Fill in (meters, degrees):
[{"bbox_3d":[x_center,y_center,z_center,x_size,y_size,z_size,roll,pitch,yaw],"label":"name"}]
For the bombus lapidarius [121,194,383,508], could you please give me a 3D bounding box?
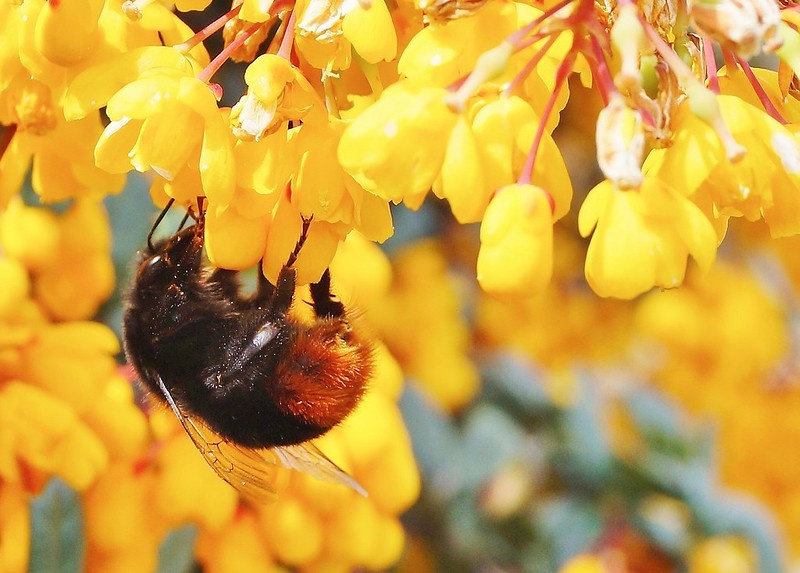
[{"bbox_3d":[-0.162,0.036,1.084,0.103,0.237,0.323,-13,57,-50],"label":"bombus lapidarius"}]
